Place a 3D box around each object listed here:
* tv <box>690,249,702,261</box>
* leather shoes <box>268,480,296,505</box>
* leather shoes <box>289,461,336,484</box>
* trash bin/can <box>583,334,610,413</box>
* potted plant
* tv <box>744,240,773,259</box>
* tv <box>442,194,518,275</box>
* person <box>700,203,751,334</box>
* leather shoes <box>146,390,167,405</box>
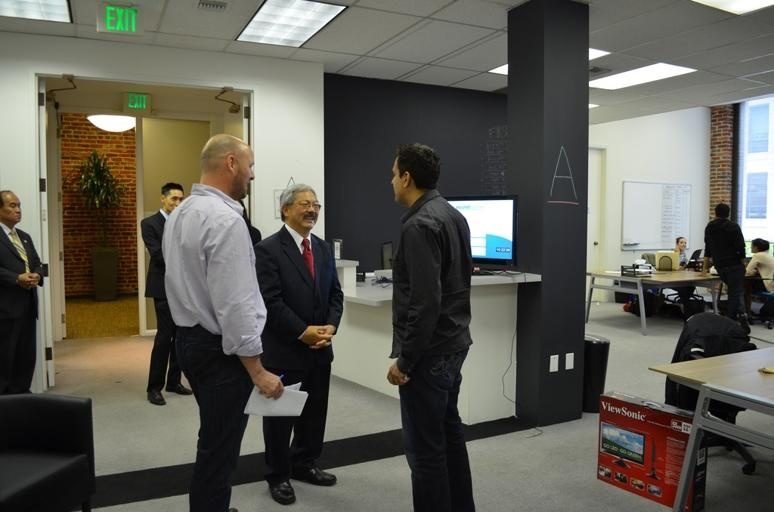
[{"bbox_3d":[6.372,-0.020,11.044,0.245,0.162,0.178,1,9,-34],"label":"tv"},{"bbox_3d":[-0.751,1.684,3.876,0.115,0.119,0.186,1,-2,-41],"label":"leather shoes"},{"bbox_3d":[-0.547,1.640,4.102,0.377,0.157,0.136,2,1,3],"label":"leather shoes"},{"bbox_3d":[2.035,1.162,5.252,0.217,0.741,0.414,3,7,22],"label":"trash bin/can"},{"bbox_3d":[-5.323,-0.556,10.130,0.693,2.764,0.479,-2,7,-24],"label":"potted plant"},{"bbox_3d":[6.722,-0.117,9.684,0.197,0.244,0.363,-3,5,-6],"label":"tv"},{"bbox_3d":[0.810,-0.166,4.436,0.741,0.687,0.078,2,4,37],"label":"tv"},{"bbox_3d":[5.560,0.228,8.629,0.667,2.130,0.713,1,-9,-7],"label":"person"},{"bbox_3d":[-2.296,1.420,5.413,0.095,0.085,0.219,1,0,-40],"label":"leather shoes"}]
